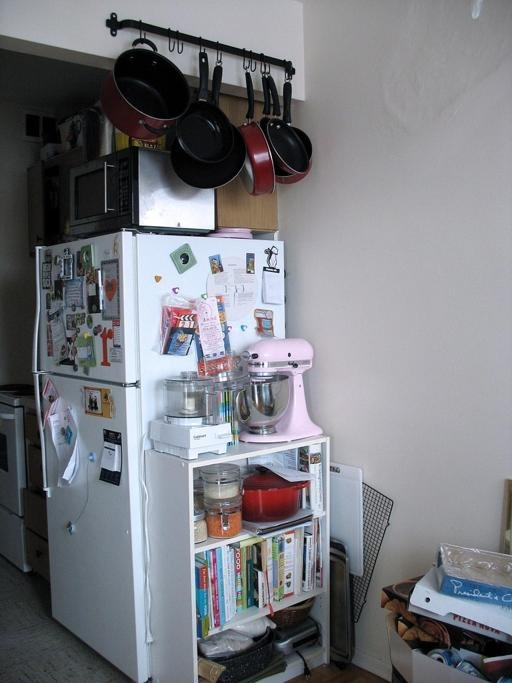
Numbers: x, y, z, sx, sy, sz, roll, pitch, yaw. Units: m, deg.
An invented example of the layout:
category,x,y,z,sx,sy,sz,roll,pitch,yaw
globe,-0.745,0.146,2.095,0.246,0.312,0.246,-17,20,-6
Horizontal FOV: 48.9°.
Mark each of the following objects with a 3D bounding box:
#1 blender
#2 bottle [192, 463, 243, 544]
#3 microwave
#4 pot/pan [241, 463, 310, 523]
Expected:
category,x,y,z,sx,sy,sz,roll,pitch,yaw
blender,0.096,0.172,2.112,0.302,0.368,0.222,-2,2,-34
bottle,-0.145,0.527,1.836,0.137,0.210,0.191,-1,-4,-9
microwave,-0.451,-0.526,2.154,0.489,0.305,0.348,6,7,44
pot/pan,0.058,0.533,1.969,0.169,0.096,0.155,-3,-5,17
